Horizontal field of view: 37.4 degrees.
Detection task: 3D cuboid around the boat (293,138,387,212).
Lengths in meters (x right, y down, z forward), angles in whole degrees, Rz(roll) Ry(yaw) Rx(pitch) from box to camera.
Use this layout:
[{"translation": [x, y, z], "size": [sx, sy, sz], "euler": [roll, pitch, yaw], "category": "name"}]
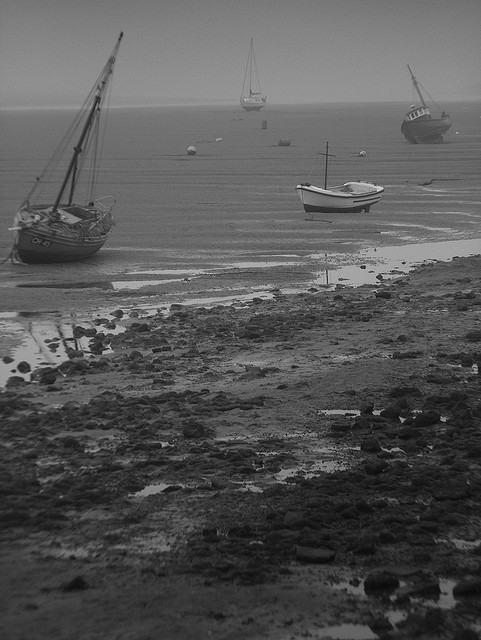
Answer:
[{"translation": [5.126, -7.115, 37.166], "size": [5.883, 2.904, 2.286], "euler": [-12, 21, -42], "category": "boat"}]
